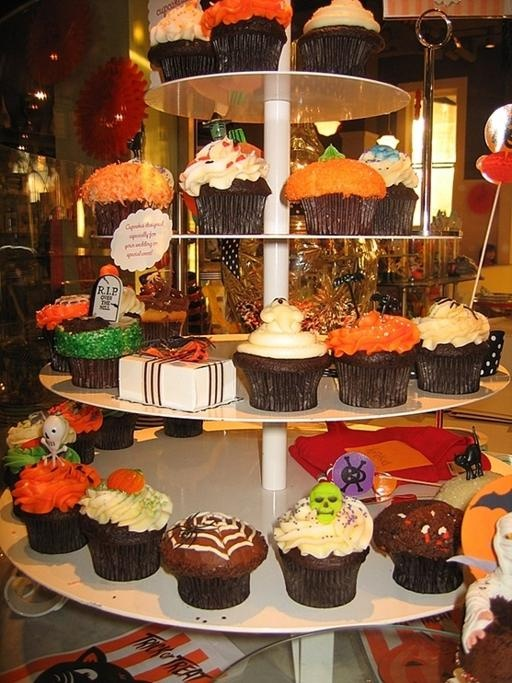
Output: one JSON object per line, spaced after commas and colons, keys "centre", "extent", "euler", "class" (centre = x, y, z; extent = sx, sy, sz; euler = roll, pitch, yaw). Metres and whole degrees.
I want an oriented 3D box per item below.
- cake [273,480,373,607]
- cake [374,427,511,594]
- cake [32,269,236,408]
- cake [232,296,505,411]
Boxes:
{"centre": [0.155, 0.471, 1.392], "extent": [0.277, 0.307, 0.281], "euler": [0, 1, 0], "class": "cake"}
{"centre": [0.432, 0.440, 1.414], "extent": [0.259, 0.352, 0.304], "euler": [1, 11, 22], "class": "cake"}
{"centre": [-0.335, -0.032, 1.640], "extent": [0.604, 0.336, 0.352], "euler": [8, 14, 24], "class": "cake"}
{"centre": [0.343, 0.006, 1.537], "extent": [0.448, 0.157, 0.441], "euler": [-6, 6, -41], "class": "cake"}
